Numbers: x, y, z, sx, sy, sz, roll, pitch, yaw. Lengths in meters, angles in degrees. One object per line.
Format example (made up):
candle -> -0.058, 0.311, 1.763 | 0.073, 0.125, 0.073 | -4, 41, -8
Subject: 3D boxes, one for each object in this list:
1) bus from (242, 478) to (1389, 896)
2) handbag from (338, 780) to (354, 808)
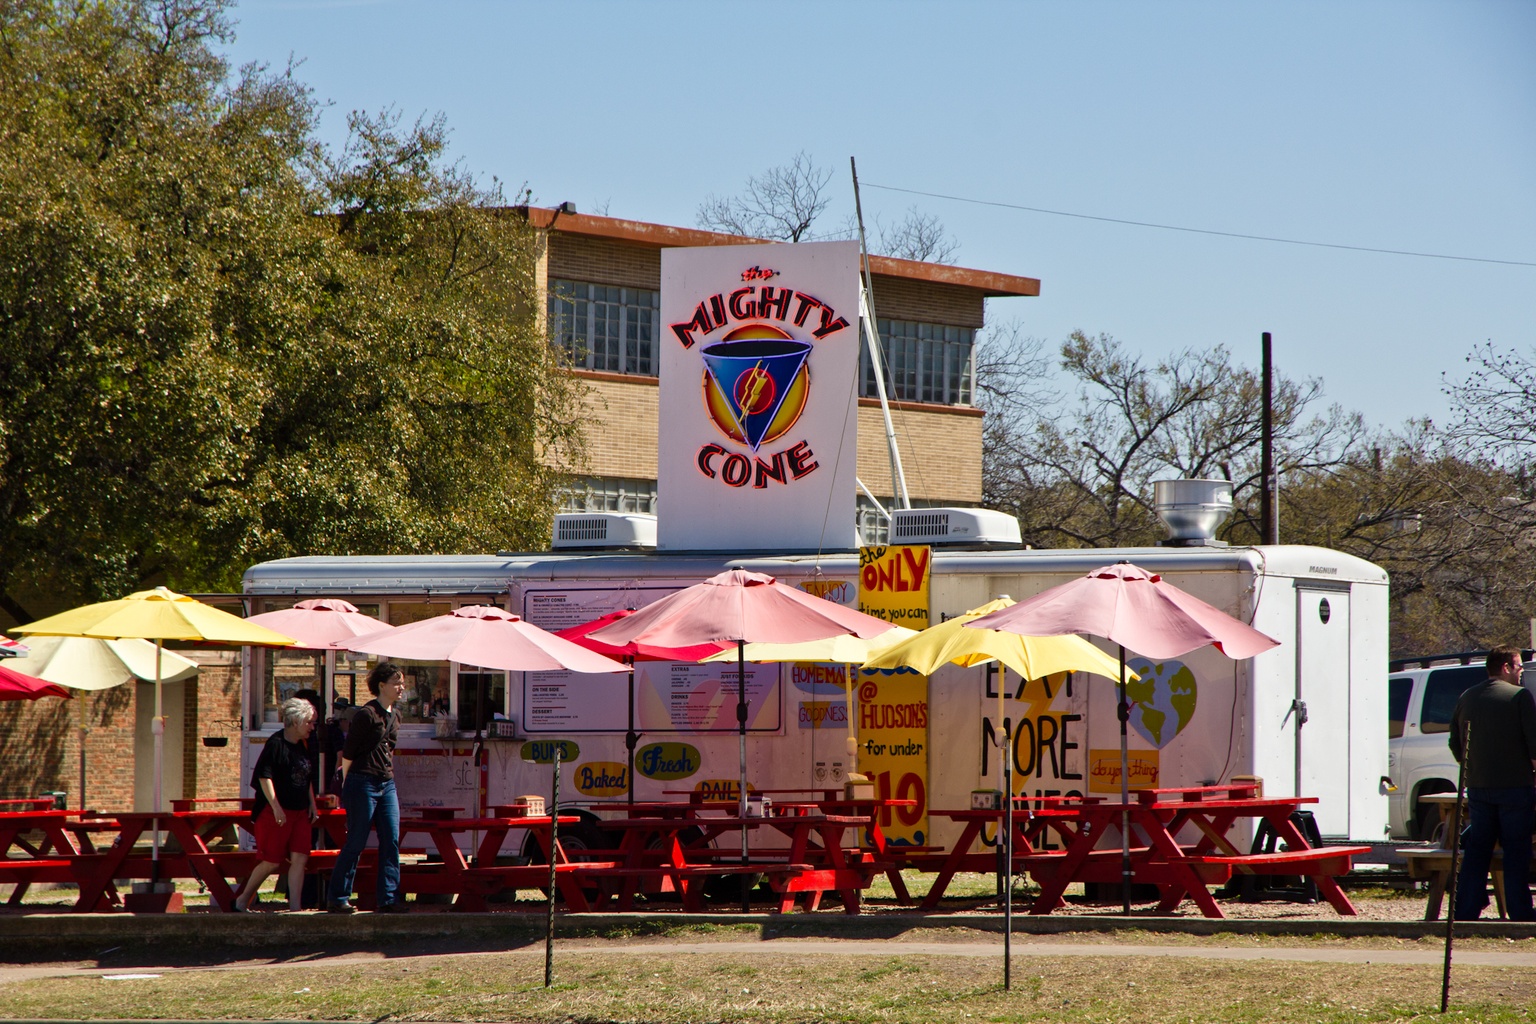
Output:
bus -> 0.212, 2.249, 44.837 | 13.900, 4.618, 3.924 | 0, 5, 14
handbag -> -5.257, 3.506, 40.584 | 0.094, 0.331, 0.310 | 4, -9, -24
